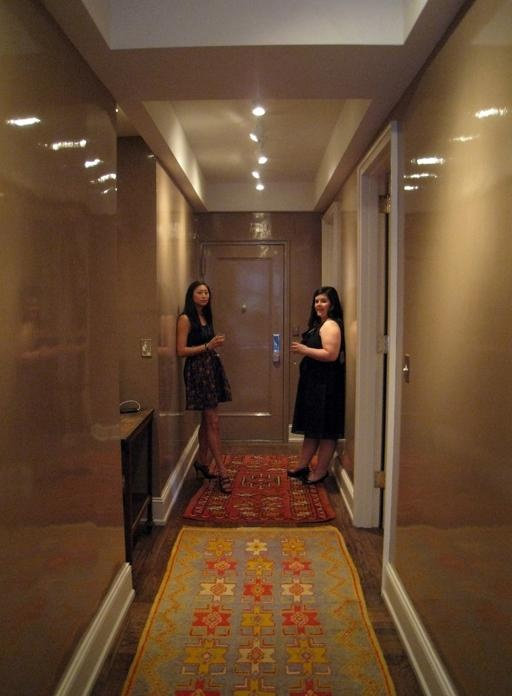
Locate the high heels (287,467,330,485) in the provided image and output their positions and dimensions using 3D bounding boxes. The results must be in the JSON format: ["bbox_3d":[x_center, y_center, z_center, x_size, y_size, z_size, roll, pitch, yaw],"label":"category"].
[{"bbox_3d":[0.427,1.012,3.963,0.335,0.159,0.129,12,0,-2],"label":"high heels"}]

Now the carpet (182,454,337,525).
[{"bbox_3d":[0.030,1.107,4.161,0.999,0.026,2.252,-1,-2,1],"label":"carpet"}]

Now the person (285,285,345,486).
[{"bbox_3d":[0.455,0.300,3.798,0.423,1.526,0.580,0,1,4],"label":"person"}]

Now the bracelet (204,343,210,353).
[{"bbox_3d":[-0.358,-0.002,3.618,0.040,0.068,0.021,-1,6,-1],"label":"bracelet"}]
